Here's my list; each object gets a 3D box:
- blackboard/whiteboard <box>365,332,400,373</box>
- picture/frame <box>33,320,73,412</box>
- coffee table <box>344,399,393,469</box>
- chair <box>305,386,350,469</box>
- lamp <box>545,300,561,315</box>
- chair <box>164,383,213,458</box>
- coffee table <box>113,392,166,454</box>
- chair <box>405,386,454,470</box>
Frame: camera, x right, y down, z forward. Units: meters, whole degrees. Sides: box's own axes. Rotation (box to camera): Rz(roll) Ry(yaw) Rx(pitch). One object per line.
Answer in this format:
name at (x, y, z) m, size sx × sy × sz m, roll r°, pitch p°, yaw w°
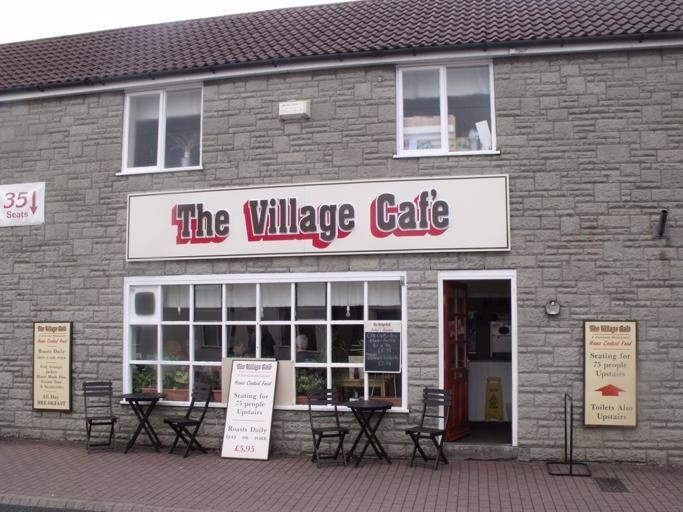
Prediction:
blackboard/whiteboard at (0.751, 1.717, 13.371) m, size 0.773 × 0.791 × 0.057 m, roll 0°, pitch -6°, yaw 5°
picture/frame at (-5.538, 2.124, 14.641) m, size 0.819 × 1.676 × 0.135 m, roll -3°, pitch -7°, yaw 16°
coffee table at (0.483, 3.003, 12.899) m, size 0.829 × 0.917 × 0.836 m, roll -11°, pitch -23°, yaw 20°
chair at (-0.227, 2.918, 13.091) m, size 0.672 × 1.223 × 0.827 m, roll -1°, pitch -6°, yaw -3°
lamp at (3.596, 0.876, 12.897) m, size 0.253 × 0.239 × 0.059 m, roll 3°, pitch -6°, yaw 9°
chair at (-2.715, 2.921, 13.678) m, size 0.820 × 1.249 × 1.046 m, roll 0°, pitch -7°, yaw -10°
coffee table at (-3.597, 2.982, 13.895) m, size 0.817 × 0.905 × 0.801 m, roll 0°, pitch 1°, yaw 31°
chair at (1.487, 2.869, 12.800) m, size 0.777 × 1.285 × 0.840 m, roll -2°, pitch -6°, yaw 7°
